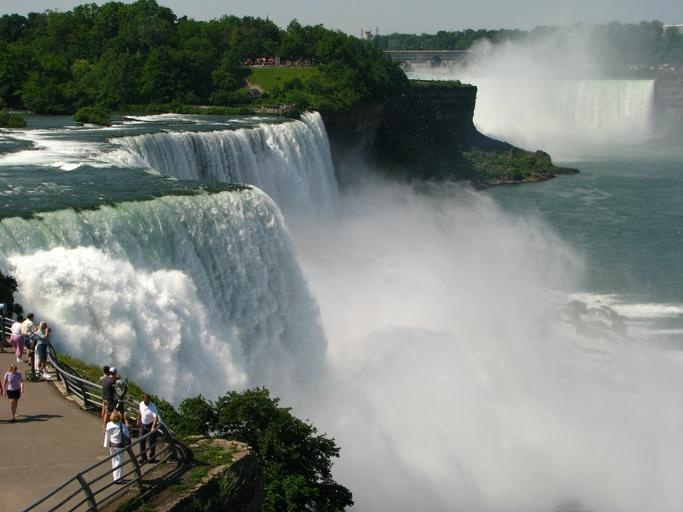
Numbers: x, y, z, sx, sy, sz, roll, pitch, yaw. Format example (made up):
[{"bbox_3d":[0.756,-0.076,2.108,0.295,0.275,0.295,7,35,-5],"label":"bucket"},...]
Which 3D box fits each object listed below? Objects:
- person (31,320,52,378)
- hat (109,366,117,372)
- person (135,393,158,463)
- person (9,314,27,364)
[{"bbox_3d":[-8.564,2.656,23.957,0.471,1.458,0.697,-5,19,-6],"label":"person"},{"bbox_3d":[-6.141,3.053,22.526,0.205,0.204,0.117,3,16,-3],"label":"hat"},{"bbox_3d":[-4.928,4.339,21.399,0.609,1.531,1.535,-8,20,-14],"label":"person"},{"bbox_3d":[-9.367,2.427,24.378,0.378,1.136,0.625,-11,21,-21],"label":"person"}]
